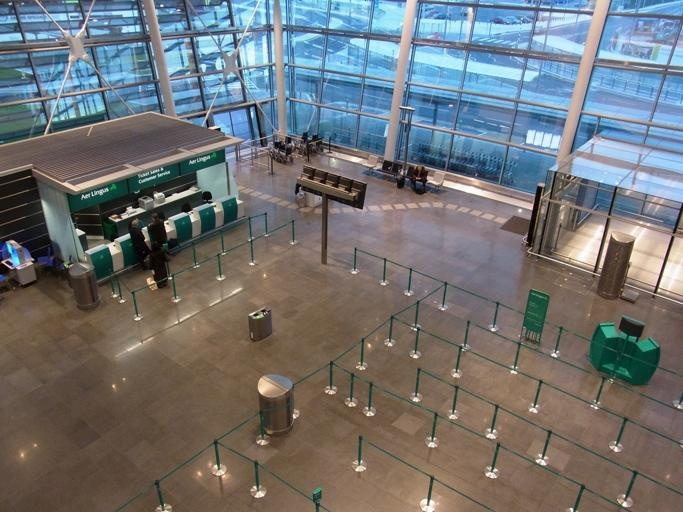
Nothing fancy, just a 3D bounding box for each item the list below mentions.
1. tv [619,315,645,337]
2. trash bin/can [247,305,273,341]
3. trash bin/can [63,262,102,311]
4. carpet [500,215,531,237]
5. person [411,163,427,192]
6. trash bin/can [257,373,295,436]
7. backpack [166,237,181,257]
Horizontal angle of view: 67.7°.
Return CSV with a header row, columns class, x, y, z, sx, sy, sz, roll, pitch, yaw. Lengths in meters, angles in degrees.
class,x,y,z,sx,sy,sz,roll,pitch,yaw
tv,7.421,1.805,13.047,0.467,0.570,0.550,26,52,34
trash bin/can,-2.195,1.829,13.626,0.424,0.651,0.720,20,31,37
trash bin/can,-7.468,0.899,14.688,0.931,1.356,0.848,22,40,23
carpet,6.739,-1.188,19.807,0.971,0.204,0.962,17,41,24
person,3.399,-3.362,22.378,0.776,0.986,1.122,9,28,7
trash bin/can,-1.423,3.236,10.971,0.921,0.826,0.953,24,34,35
backpack,-5.713,-0.300,17.203,0.394,0.575,0.491,14,27,12
